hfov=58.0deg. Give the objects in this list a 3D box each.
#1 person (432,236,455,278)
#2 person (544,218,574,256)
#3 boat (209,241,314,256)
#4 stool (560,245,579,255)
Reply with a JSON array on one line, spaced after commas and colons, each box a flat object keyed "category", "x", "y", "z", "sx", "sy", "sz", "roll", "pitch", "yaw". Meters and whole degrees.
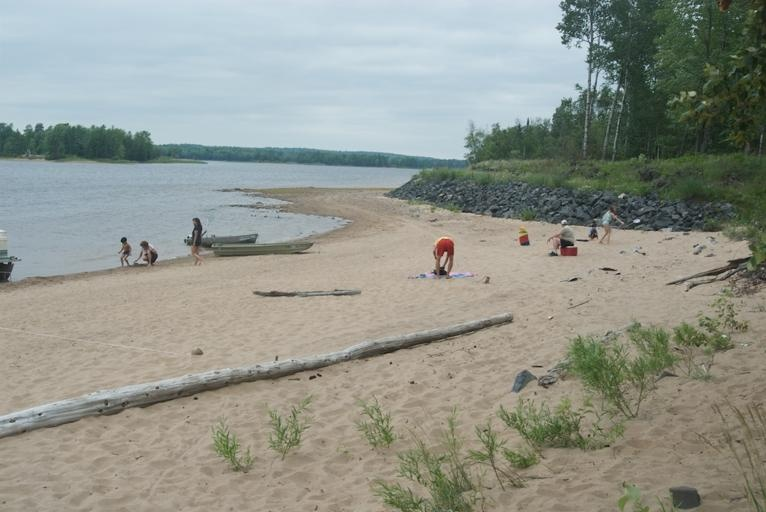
[{"category": "person", "x": 2.165, "y": -0.065, "z": 24.480, "sx": 0.926, "sy": 1.296, "sz": 2.255, "roll": 2, "pitch": 7, "yaw": 0}, {"category": "person", "x": 6.785, "y": -0.694, "z": 25.964, "sx": 0.870, "sy": 1.290, "sz": 0.864, "roll": 5, "pitch": 11, "yaw": 22}, {"category": "boat", "x": -5.723, "y": -0.322, "z": 31.969, "sx": 3.432, "sy": 0.406, "sz": 0.723, "roll": -1, "pitch": 18, "yaw": -1}, {"category": "stool", "x": 6.938, "y": -0.210, "z": 25.665, "sx": 0.474, "sy": 0.244, "sz": 0.397, "roll": 0, "pitch": 5, "yaw": 4}]
